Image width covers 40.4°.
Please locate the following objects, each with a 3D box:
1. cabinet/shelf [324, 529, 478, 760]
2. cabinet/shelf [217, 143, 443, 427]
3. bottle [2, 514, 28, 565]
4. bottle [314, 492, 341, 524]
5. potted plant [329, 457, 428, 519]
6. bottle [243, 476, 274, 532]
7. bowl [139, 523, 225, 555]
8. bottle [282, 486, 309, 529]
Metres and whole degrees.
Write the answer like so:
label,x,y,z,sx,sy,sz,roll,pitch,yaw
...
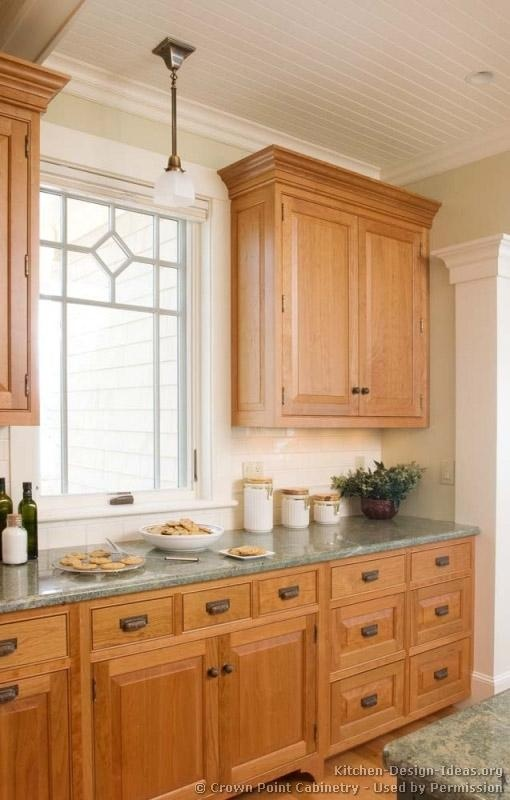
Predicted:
label,x,y,z,sx,sy,sz,roll,pitch,yaw
cabinet/shelf,0.489,0.855,2.464,0.815,0.760,0.305,1,-3,-42
cabinet/shelf,0.284,-0.459,2.874,1.254,1.175,0.363,3,-4,-42
bottle,-0.713,0.408,2.047,0.074,0.145,0.148,3,-1,-18
bottle,0.309,0.473,3.063,0.128,0.121,0.121,1,-2,-40
potted plant,0.576,0.418,3.238,0.287,0.247,0.367,-10,-11,44
bottle,-0.007,0.419,2.757,0.142,0.163,0.114,2,-1,22
bowl,-0.252,0.466,2.357,0.262,0.084,0.227,2,-1,3
bottle,0.165,0.447,2.924,0.136,0.156,0.149,1,0,20
